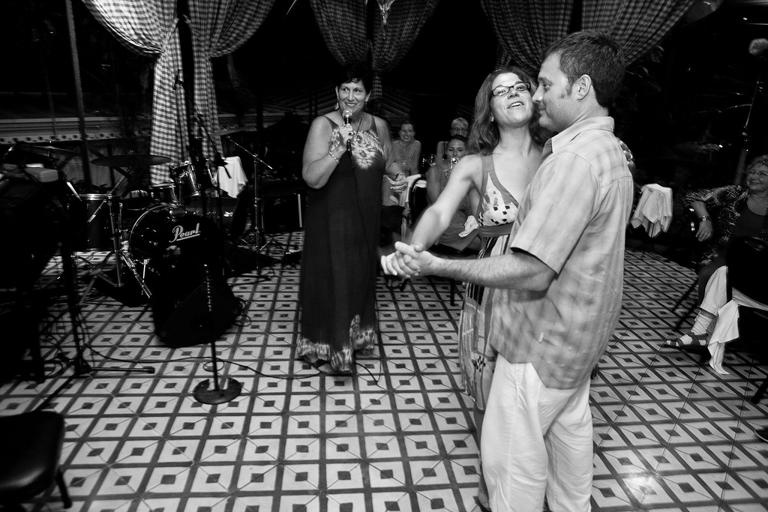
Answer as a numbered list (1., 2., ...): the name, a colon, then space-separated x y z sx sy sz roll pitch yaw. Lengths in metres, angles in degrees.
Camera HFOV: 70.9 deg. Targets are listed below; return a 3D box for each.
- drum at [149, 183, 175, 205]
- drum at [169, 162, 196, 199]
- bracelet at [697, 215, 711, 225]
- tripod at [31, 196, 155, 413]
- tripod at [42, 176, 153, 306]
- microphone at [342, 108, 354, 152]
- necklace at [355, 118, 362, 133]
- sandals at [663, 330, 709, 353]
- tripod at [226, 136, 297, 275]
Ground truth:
1. drum: -2.504 -0.715 6.155 0.287 0.272 0.261 -2 16 -7
2. drum: -2.338 -0.871 6.285 0.276 0.550 0.718 -5 25 -21
3. bracelet: 3.403 -0.377 5.748 0.114 0.078 0.103 -2 1 21
4. tripod: -2.433 0.362 4.358 0.844 1.357 0.880 -6 17 -30
5. tripod: -2.866 -0.126 5.446 1.015 1.127 0.872 20 26 32
6. microphone: -0.282 -0.961 4.100 0.085 0.082 0.436 -20 39 9
7. necklace: -0.203 -1.053 4.320 0.027 0.189 0.010 14 -20 -18
8. sandals: 2.881 0.822 5.157 0.426 0.172 0.157 -1 5 26
9. tripod: -1.594 -0.871 7.276 0.960 1.569 1.967 1 24 -9
